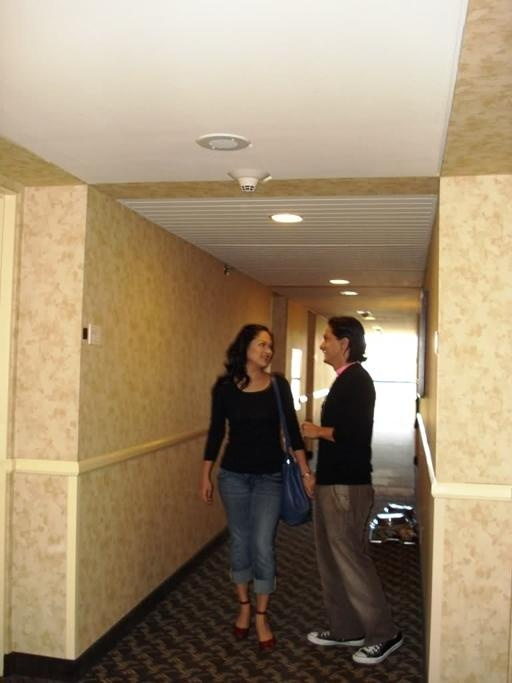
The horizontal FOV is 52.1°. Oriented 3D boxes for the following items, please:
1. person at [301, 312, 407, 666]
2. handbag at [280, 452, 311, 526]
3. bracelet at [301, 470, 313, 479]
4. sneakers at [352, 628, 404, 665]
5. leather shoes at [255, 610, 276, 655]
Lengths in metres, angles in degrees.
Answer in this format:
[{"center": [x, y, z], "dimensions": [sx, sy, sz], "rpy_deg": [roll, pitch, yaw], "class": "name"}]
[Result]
[{"center": [0.553, 0.838, 3.076], "dimensions": [0.538, 1.979, 0.446], "rpy_deg": [0, -6, 11], "class": "person"}, {"center": [0.230, 0.866, 3.081], "dimensions": [0.183, 0.432, 0.345], "rpy_deg": [-8, 14, 6], "class": "handbag"}, {"center": [0.309, 0.802, 3.140], "dimensions": [0.065, 0.038, 0.037], "rpy_deg": [-2, -15, 7], "class": "bracelet"}, {"center": [0.702, 1.748, 3.038], "dimensions": [0.324, 0.121, 0.116], "rpy_deg": [6, -16, -36], "class": "sneakers"}, {"center": [0.060, 1.691, 3.123], "dimensions": [0.116, 0.222, 0.201], "rpy_deg": [1, -6, 2], "class": "leather shoes"}]
